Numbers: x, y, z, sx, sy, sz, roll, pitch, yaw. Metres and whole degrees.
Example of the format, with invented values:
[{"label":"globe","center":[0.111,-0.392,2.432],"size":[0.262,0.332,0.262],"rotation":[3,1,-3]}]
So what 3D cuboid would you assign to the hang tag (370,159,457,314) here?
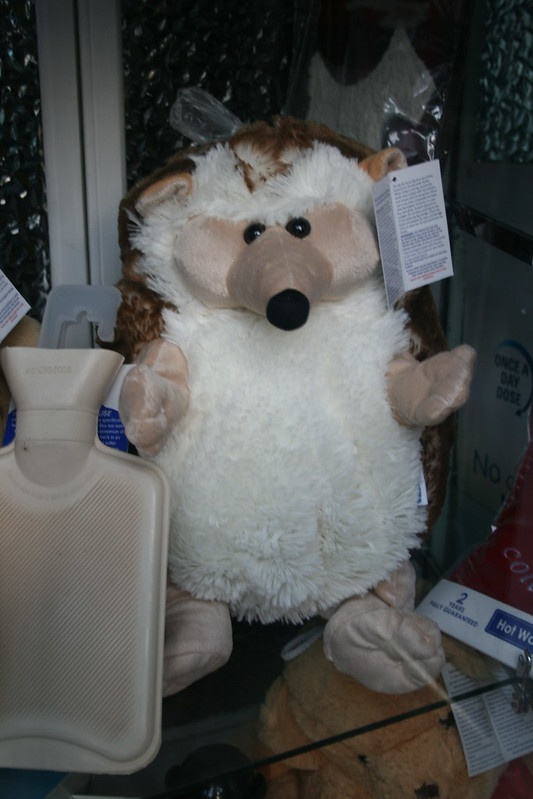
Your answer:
[{"label":"hang tag","center":[0.122,-0.140,0.638],"size":[0.083,0.106,0.034],"rotation":[-22,21,-27]}]

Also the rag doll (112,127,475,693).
[{"label":"rag doll","center":[0.018,-0.006,0.683],"size":[0.336,0.464,0.302],"rotation":[0,10,2]}]
